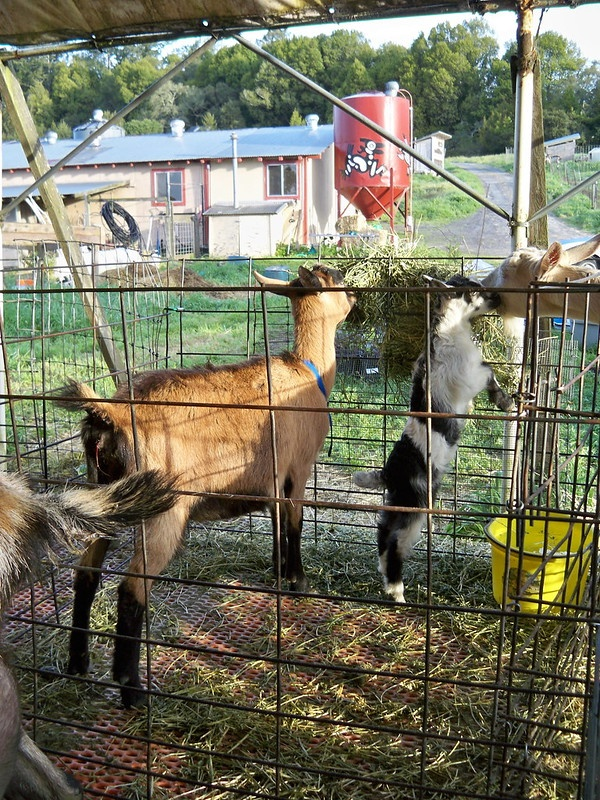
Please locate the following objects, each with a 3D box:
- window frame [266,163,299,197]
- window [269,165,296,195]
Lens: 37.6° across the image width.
[{"bbox_3d":[-0.482,-6.322,25.161,1.088,0.994,0.070,1,5,11],"label":"window frame"},{"bbox_3d":[-0.478,-6.319,25.182,0.974,0.889,0.066,1,4,11],"label":"window"}]
